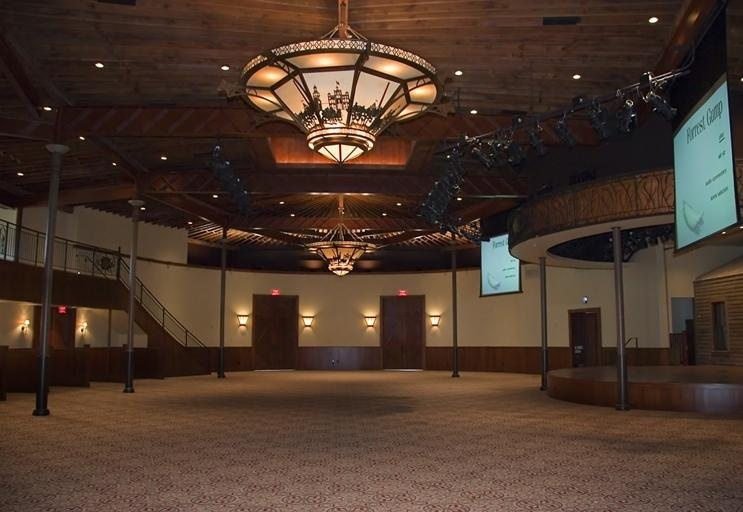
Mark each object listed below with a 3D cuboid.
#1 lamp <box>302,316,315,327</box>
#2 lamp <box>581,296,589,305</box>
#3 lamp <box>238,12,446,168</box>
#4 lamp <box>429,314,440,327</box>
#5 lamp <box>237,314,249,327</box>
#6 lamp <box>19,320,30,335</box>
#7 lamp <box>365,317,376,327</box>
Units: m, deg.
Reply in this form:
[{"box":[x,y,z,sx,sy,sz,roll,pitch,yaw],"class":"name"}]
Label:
[{"box":[-3.019,3.108,24.167,0.454,0.432,0.183,1,-10,-6],"class":"lamp"},{"box":[7.827,1.623,18.730,0.226,0.422,0.330,3,-3,-26],"class":"lamp"},{"box":[-0.442,-2.228,7.293,2.750,0.866,1.677,0,-14,-4],"class":"lamp"},{"box":[2.905,3.007,23.554,0.513,0.527,0.492,1,-11,1],"class":"lamp"},{"box":[-5.856,2.985,23.358,0.513,0.525,0.481,1,-12,-8],"class":"lamp"},{"box":[-11.510,2.371,16.911,0.091,0.482,0.299,-5,-13,16],"class":"lamp"},{"box":[0.001,3.147,24.259,0.469,0.460,0.448,0,-6,-3],"class":"lamp"}]
